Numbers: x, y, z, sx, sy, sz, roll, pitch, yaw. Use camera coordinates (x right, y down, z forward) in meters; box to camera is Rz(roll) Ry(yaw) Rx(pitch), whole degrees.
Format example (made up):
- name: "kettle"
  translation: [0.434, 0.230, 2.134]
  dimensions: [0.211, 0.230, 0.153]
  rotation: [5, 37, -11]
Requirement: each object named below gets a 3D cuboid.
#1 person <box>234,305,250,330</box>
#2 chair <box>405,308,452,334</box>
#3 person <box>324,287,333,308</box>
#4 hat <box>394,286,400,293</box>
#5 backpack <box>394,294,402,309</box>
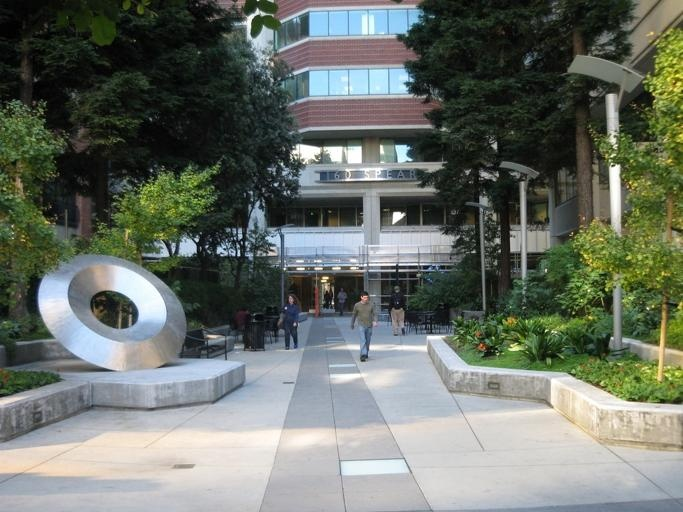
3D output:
- name: "person"
  translation: [-3.954, 2.452, 27.968]
  dimensions: [0.660, 1.089, 0.625]
  rotation: [6, 12, 15]
- name: "chair"
  translation: [3.899, 3.016, 32.016]
  dimensions: [1.982, 1.303, 4.073]
  rotation: [1, 6, 8]
- name: "person"
  translation: [-1.013, 3.348, 56.179]
  dimensions: [0.738, 1.623, 0.353]
  rotation: [-2, 6, -15]
- name: "hat"
  translation: [2.409, 1.473, 30.842]
  dimensions: [0.234, 0.270, 0.288]
  rotation: [-2, -15, 7]
- name: "backpack"
  translation: [2.363, 1.891, 29.943]
  dimensions: [0.410, 0.632, 0.478]
  rotation: [1, 6, 12]
